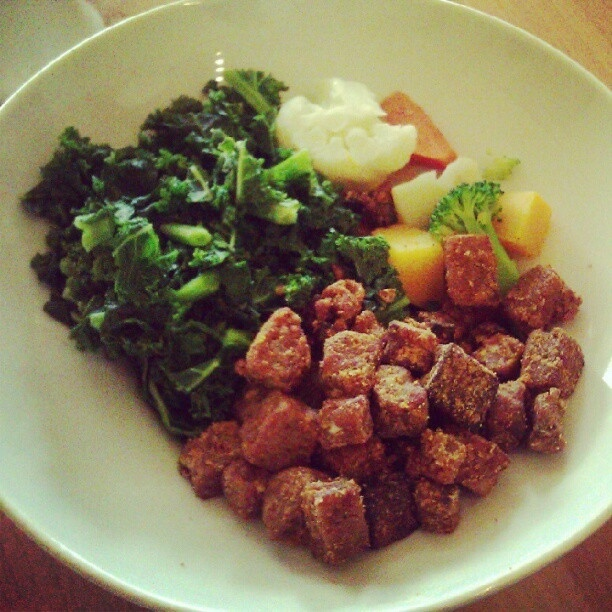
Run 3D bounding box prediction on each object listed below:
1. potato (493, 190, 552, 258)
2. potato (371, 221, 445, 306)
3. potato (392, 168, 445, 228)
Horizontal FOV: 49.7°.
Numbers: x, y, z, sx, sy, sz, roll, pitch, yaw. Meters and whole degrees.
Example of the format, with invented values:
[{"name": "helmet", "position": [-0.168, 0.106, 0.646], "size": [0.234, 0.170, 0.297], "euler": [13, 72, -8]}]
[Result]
[{"name": "potato", "position": [0.912, -0.343, 2.782], "size": [0.236, 0.270, 0.086], "euler": [-8, 2, -8]}, {"name": "potato", "position": [0.450, -0.183, 2.847], "size": [0.258, 0.284, 0.298], "euler": [-21, 19, -1]}, {"name": "potato", "position": [0.470, -0.447, 2.800], "size": [0.211, 0.237, 0.062], "euler": [-18, 21, -14]}]
